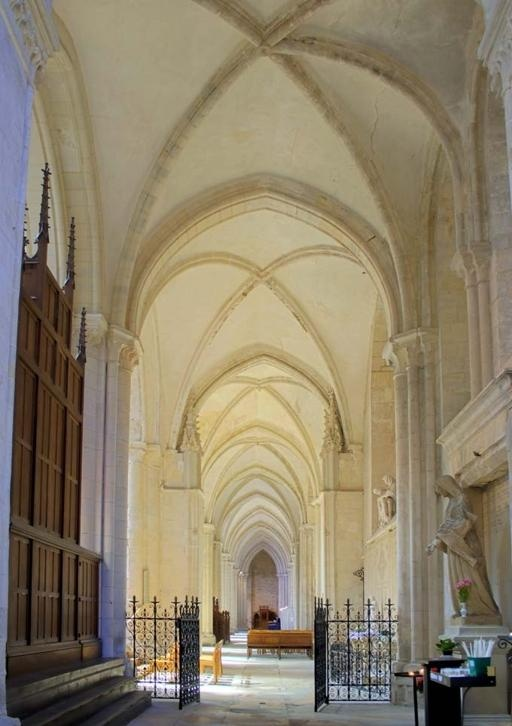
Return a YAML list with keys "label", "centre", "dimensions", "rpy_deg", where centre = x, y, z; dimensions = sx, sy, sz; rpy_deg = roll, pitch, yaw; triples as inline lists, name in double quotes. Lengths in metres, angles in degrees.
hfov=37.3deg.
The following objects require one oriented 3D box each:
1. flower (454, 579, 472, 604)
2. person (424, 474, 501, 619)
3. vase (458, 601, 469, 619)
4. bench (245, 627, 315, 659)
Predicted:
- label: "flower"
  centre: [2.057, 2.243, 7.473]
  dimensions: [0.151, 0.221, 0.302]
  rpy_deg: [-6, -22, 13]
- label: "person"
  centre: [2.164, 1.932, 7.991]
  dimensions: [0.621, 1.591, 1.093]
  rpy_deg: [-5, -21, 12]
- label: "vase"
  centre: [2.070, 2.475, 7.559]
  dimensions: [0.075, 0.159, 0.169]
  rpy_deg: [-3, -21, 8]
- label: "bench"
  centre: [0.703, 7.823, 21.229]
  dimensions: [1.756, 0.746, 3.187]
  rpy_deg: [-2, -22, 3]
